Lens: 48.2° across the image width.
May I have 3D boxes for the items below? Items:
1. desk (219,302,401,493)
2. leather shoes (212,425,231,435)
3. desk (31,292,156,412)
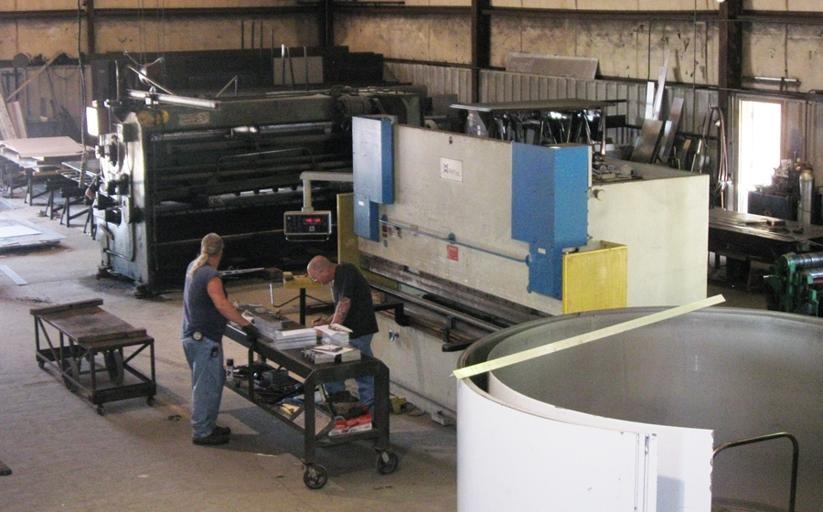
[{"bbox_3d":[-1.011,1.354,9.139,0.901,1.334,1.855,-9,16,-38],"label":"desk"},{"bbox_3d":[-1.905,1.762,9.277,0.189,0.070,0.061,-3,6,-16],"label":"leather shoes"},{"bbox_3d":[-3.518,1.064,10.345,0.769,0.899,1.785,-10,16,-42],"label":"desk"}]
